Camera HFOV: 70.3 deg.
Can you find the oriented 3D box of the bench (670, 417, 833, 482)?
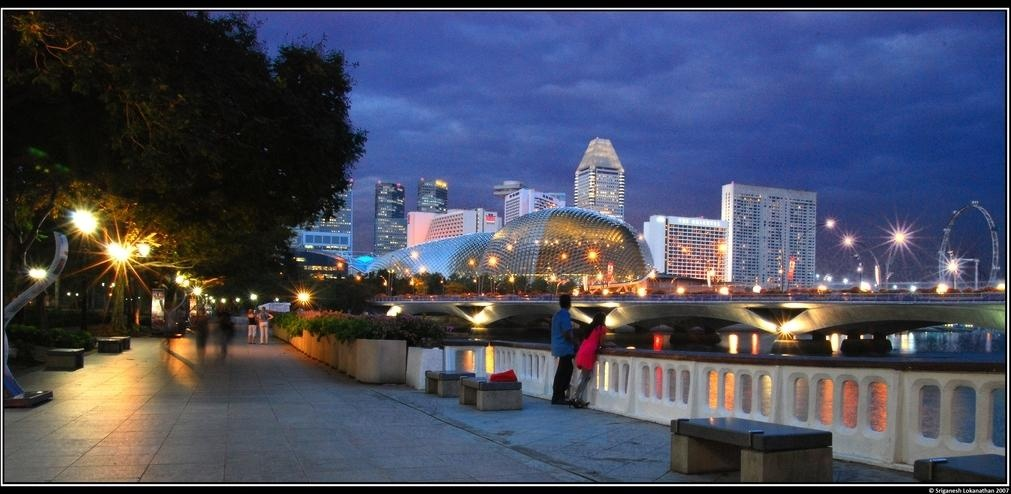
[{"bbox_3d":[5.852,4.678,16.630,1.958,0.953,2.721,3,-5,-38],"label":"bench"}]

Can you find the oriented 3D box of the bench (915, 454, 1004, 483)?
[{"bbox_3d":[9.809,4.741,15.315,1.042,0.221,0.974,4,-10,-19],"label":"bench"}]

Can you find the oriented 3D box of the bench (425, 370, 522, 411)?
[{"bbox_3d":[-0.903,4.535,22.028,1.876,1.391,3.811,2,-4,-25],"label":"bench"}]

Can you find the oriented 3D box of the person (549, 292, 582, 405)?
[{"bbox_3d":[1.614,3.189,21.923,1.282,2.796,1.179,1,-1,-19],"label":"person"}]

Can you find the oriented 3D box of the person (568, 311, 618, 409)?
[{"bbox_3d":[2.499,3.383,21.572,0.722,2.837,1.012,10,-10,-30],"label":"person"}]

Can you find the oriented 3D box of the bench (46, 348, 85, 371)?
[{"bbox_3d":[-18.060,4.524,28.864,1.189,0.561,1.051,1,-6,-5],"label":"bench"}]
